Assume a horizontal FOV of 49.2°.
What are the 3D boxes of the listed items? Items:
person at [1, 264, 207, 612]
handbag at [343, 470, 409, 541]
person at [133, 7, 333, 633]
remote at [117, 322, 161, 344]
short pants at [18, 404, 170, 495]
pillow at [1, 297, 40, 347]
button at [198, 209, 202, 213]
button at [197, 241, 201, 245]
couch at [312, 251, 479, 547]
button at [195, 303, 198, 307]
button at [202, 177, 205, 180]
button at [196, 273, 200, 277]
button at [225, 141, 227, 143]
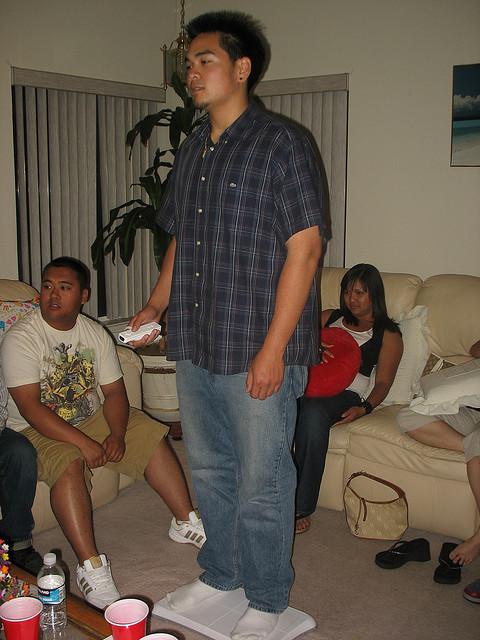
[{"bbox_3d":[-0.352,0.254,2.252,1.027,1.366,0.809,10,17,34],"label":"person"},{"bbox_3d":[0.518,0.719,2.026,0.248,0.233,0.113,4,3,26],"label":"handbag"},{"bbox_3d":[-0.007,0.067,1.319,0.475,1.448,0.454,10,-2,4],"label":"person"},{"bbox_3d":[-0.268,0.035,1.402,0.112,0.025,0.046,-29,37,-31],"label":"remote"},{"bbox_3d":[-0.529,0.464,1.889,0.419,0.310,0.349,11,-2,-42],"label":"short pants"},{"bbox_3d":[-0.877,-0.001,2.051,0.166,0.162,0.041,-3,-25,-25],"label":"pillow"},{"bbox_3d":[-0.095,-0.260,1.250,0.010,0.010,0.002,0,4,31],"label":"button"},{"bbox_3d":[-0.101,-0.186,1.270,0.007,0.007,0.002,10,1,29],"label":"button"},{"bbox_3d":[0.741,0.233,2.393,1.074,0.684,1.068,9,18,30],"label":"couch"},{"bbox_3d":[-0.108,-0.036,1.305,0.002,0.009,0.009,5,-3,-33],"label":"button"},{"bbox_3d":[-0.086,-0.331,1.232,0.007,0.002,0.007,-10,45,-4],"label":"button"},{"bbox_3d":[-0.104,-0.111,1.292,0.010,0.010,0.002,6,3,27],"label":"button"},{"bbox_3d":[-0.032,-0.412,1.216,0.001,0.003,0.009,11,-2,-36],"label":"button"}]
